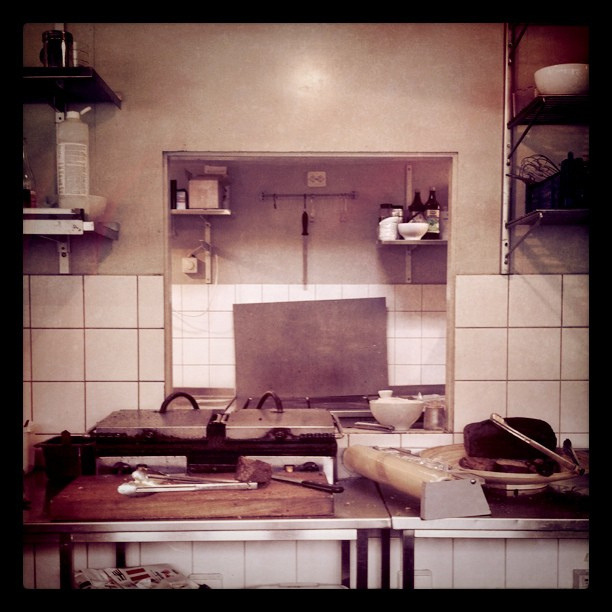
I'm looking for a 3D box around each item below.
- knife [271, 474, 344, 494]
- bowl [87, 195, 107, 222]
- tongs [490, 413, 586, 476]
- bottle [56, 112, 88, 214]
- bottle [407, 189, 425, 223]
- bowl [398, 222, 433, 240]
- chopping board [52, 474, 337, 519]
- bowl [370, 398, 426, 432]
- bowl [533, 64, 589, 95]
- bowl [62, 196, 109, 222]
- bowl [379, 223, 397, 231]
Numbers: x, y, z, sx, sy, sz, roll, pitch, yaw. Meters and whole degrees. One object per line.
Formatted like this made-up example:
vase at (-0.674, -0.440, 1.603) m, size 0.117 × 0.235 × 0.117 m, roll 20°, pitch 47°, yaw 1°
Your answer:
knife at (-0.011, 0.559, 2.824) m, size 0.064 × 0.015 × 0.377 m, roll -5°, pitch 5°, yaw -39°
bowl at (-0.731, -0.340, 3.046) m, size 0.101 × 0.081 × 0.095 m, roll 1°, pitch -1°, yaw 0°
tongs at (0.777, 0.457, 2.922) m, size 0.307 × 0.180 × 0.353 m, roll 0°, pitch -4°, yaw 15°
bottle at (-0.828, -0.493, 3.087) m, size 0.118 × 0.363 × 0.253 m, roll 3°, pitch -5°, yaw -16°
bottle at (0.554, -0.507, 4.333) m, size 0.083 × 0.179 × 0.234 m, roll 1°, pitch -4°, yaw 6°
bowl at (0.459, -0.312, 3.583) m, size 0.138 × 0.057 × 0.119 m, roll -2°, pitch 6°, yaw -12°
chopping board at (-0.339, 0.609, 2.770) m, size 0.873 × 0.112 × 0.196 m, roll 1°, pitch -4°, yaw -1°
bowl at (0.338, 0.399, 3.227) m, size 0.171 × 0.071 × 0.147 m, roll 0°, pitch -11°, yaw 1°
bowl at (0.851, -0.744, 2.929) m, size 0.198 × 0.061 × 0.168 m, roll 0°, pitch 6°, yaw -4°
bowl at (-0.777, -0.340, 3.007) m, size 0.108 × 0.084 × 0.175 m, roll 1°, pitch -4°, yaw 10°
bowl at (0.367, -0.346, 3.825) m, size 0.075 × 0.030 × 0.050 m, roll 1°, pitch -4°, yaw -2°
